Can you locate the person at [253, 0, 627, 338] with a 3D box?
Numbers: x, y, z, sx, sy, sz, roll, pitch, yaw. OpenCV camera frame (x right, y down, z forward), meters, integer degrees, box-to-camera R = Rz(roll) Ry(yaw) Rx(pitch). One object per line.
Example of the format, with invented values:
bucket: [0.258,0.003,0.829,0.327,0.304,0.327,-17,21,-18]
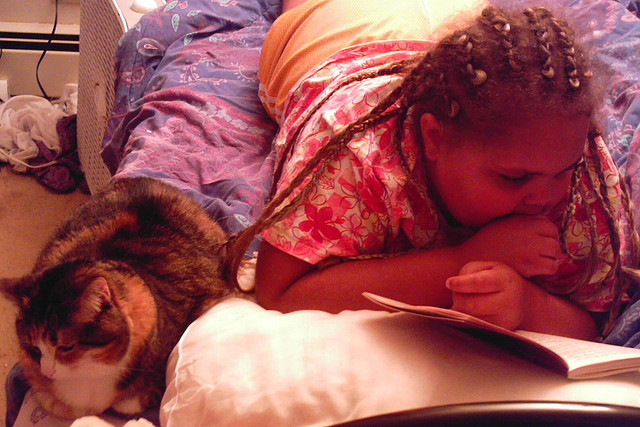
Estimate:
person: [0.193,-0.206,1.323,0.636,0.409,0.945,1,34,-12]

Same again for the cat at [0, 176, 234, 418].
cat: [-0.371,0.178,1.230,0.366,0.466,0.370,17,-15,6]
